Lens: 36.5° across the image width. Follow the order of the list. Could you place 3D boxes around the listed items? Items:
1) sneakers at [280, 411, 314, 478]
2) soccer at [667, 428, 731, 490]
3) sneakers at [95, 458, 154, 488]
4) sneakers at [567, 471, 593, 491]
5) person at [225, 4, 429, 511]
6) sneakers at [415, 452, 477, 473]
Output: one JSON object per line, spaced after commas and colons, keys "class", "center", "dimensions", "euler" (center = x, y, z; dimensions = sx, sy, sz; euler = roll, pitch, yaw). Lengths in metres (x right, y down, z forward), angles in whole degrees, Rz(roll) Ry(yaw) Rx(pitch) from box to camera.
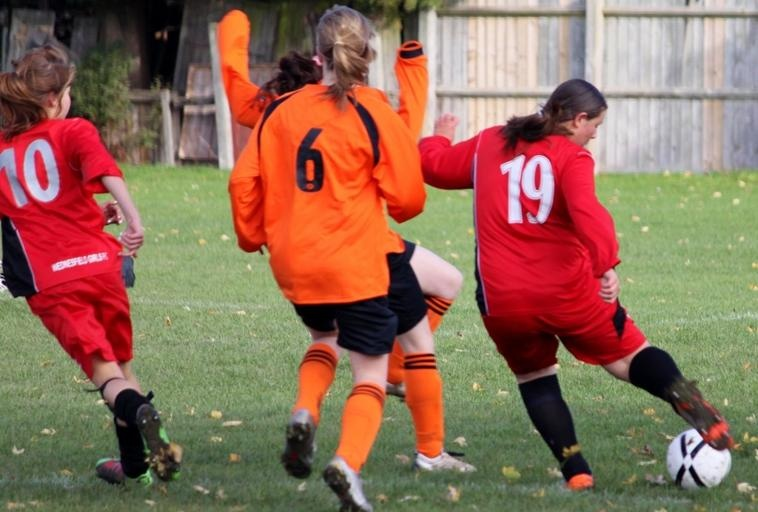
{"class": "sneakers", "center": [-0.587, 1.398, 8.487], "dimensions": [0.231, 0.473, 0.194], "euler": [0, 22, -2]}
{"class": "soccer", "center": [2.450, 1.596, 8.778], "dimensions": [0.429, 0.465, 0.448], "euler": [5, 2, 13]}
{"class": "sneakers", "center": [-2.016, 1.684, 9.097], "dimensions": [0.461, 0.215, 0.188], "euler": [13, 10, 10]}
{"class": "sneakers", "center": [1.540, 1.735, 8.777], "dimensions": [0.182, 0.082, 0.104], "euler": [-14, -7, 38]}
{"class": "person", "center": [-0.355, 0.006, 8.480], "dimensions": [1.341, 3.636, 0.763], "euler": [2, 6, 2]}
{"class": "sneakers", "center": [0.519, 1.660, 9.078], "dimensions": [0.492, 0.226, 0.183], "euler": [3, -11, -5]}
